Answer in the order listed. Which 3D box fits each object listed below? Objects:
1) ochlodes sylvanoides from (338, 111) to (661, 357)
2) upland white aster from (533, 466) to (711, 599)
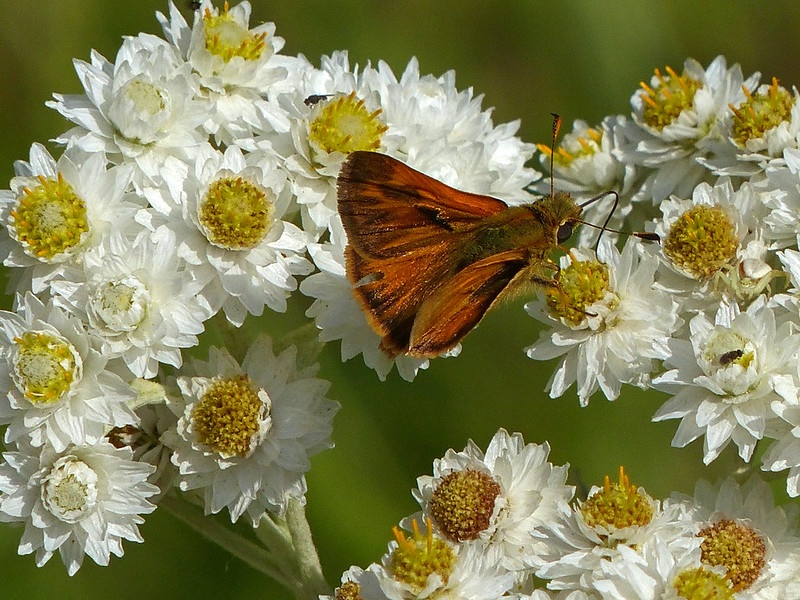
[{"bbox_3d":[0.205,-0.136,1.962,0.553,0.308,0.485,2,2,39],"label":"ochlodes sylvanoides"},{"bbox_3d":[0.371,0.434,1.752,0.219,0.148,0.261,-14,43,18],"label":"upland white aster"}]
